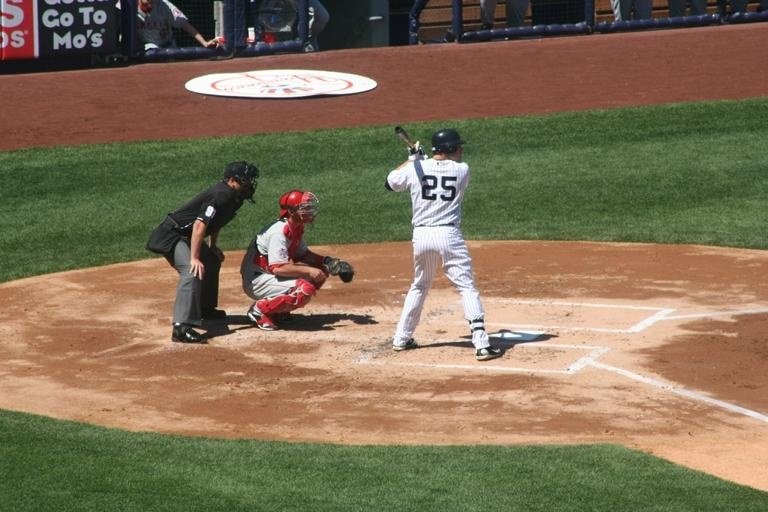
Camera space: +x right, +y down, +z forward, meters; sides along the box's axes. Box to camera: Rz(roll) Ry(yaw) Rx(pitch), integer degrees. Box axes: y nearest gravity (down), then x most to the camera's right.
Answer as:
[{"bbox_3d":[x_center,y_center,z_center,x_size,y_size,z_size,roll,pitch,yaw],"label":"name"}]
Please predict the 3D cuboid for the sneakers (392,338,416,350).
[{"bbox_3d":[0.253,1.061,15.861,0.356,0.123,0.107,-9,46,-14],"label":"sneakers"}]

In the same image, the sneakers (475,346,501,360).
[{"bbox_3d":[1.268,1.132,15.637,0.322,0.113,0.142,-17,20,-27],"label":"sneakers"}]

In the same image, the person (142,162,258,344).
[{"bbox_3d":[-2.234,-0.093,16.391,1.208,2.209,0.862,-6,12,-39],"label":"person"}]

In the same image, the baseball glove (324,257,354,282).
[{"bbox_3d":[-0.614,0.137,16.595,0.275,0.123,0.412,10,16,-38],"label":"baseball glove"}]

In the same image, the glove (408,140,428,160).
[{"bbox_3d":[0.383,-1.305,15.804,0.164,0.174,0.436,3,22,15],"label":"glove"}]

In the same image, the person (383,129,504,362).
[{"bbox_3d":[0.684,-0.153,15.685,1.364,2.710,0.485,5,10,21],"label":"person"}]

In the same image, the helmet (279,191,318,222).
[{"bbox_3d":[-1.056,-0.666,16.350,0.503,0.315,0.346,5,17,15],"label":"helmet"}]
